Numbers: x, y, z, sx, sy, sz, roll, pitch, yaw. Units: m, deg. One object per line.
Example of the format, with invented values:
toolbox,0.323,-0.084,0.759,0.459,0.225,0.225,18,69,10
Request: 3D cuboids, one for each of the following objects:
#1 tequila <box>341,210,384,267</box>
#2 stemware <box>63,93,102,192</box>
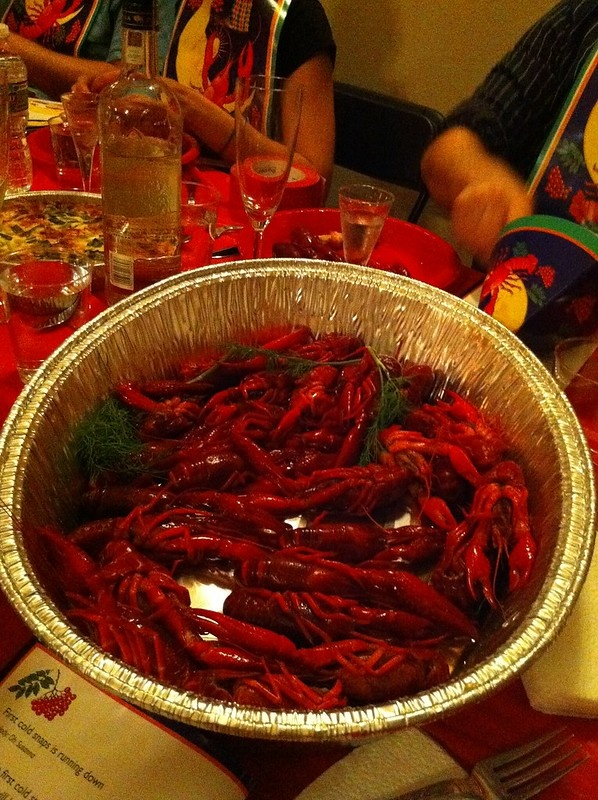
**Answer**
tequila,0.145,-0.397,1.539,0.116,0.139,0.109,9,32,8
stemware,-0.616,-0.730,1.848,0.091,0.298,0.216,-10,55,-15
